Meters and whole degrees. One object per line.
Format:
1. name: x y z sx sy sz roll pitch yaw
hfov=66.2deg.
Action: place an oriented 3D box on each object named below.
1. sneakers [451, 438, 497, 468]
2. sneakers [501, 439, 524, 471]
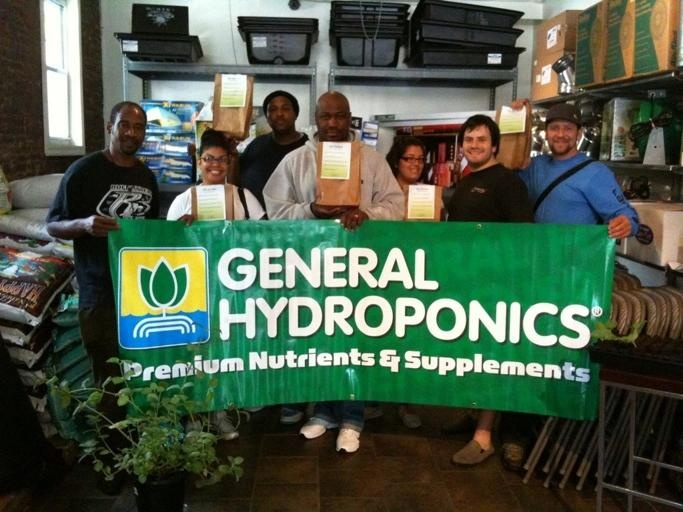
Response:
1. sneakers: 0.716 1.085 2.877 0.205 0.078 0.105 -10 11 -29
2. sneakers: 0.943 1.083 2.873 0.103 0.048 0.134 -2 48 23
